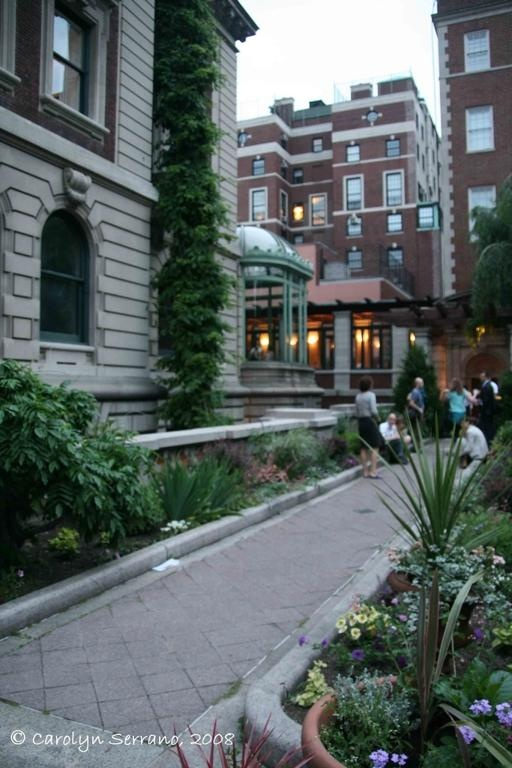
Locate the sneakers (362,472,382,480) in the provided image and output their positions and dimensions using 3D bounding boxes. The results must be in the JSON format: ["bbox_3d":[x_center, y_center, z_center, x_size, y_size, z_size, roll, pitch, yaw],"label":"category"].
[{"bbox_3d":[1.895,1.477,11.210,0.360,0.148,0.126,-1,-2,25],"label":"sneakers"}]
